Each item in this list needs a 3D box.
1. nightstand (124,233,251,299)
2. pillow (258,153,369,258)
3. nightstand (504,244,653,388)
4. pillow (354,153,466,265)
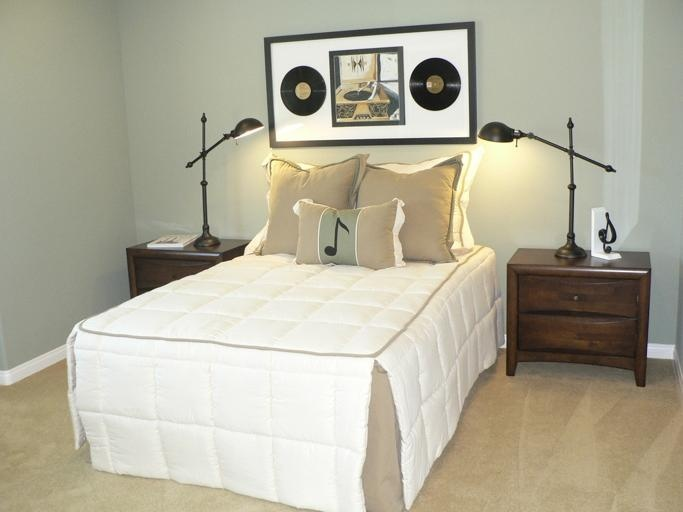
[{"bbox_3d":[-1.166,-0.063,4.265,0.609,0.624,0.444,1,8,9],"label":"nightstand"},{"bbox_3d":[-0.159,-0.308,3.736,0.650,0.690,0.261,4,-14,32],"label":"pillow"},{"bbox_3d":[1.486,0.367,3.767,0.789,0.704,0.565,1,12,21],"label":"nightstand"},{"bbox_3d":[0.423,-0.256,3.598,0.592,0.549,0.231,7,15,25],"label":"pillow"}]
